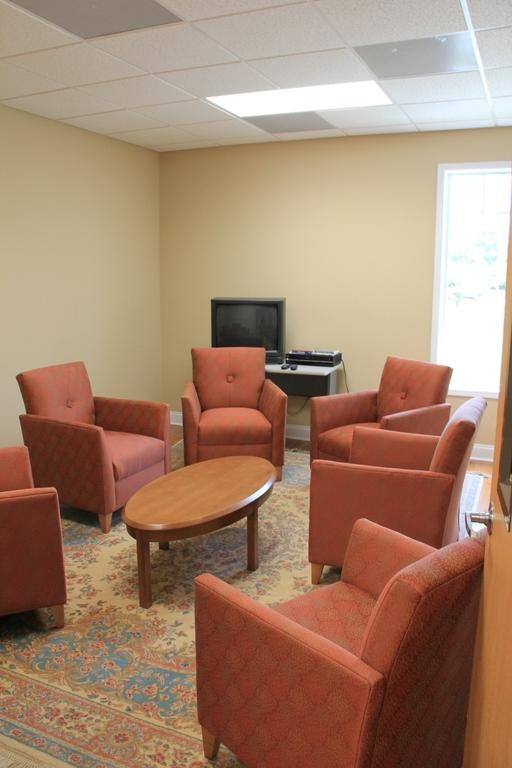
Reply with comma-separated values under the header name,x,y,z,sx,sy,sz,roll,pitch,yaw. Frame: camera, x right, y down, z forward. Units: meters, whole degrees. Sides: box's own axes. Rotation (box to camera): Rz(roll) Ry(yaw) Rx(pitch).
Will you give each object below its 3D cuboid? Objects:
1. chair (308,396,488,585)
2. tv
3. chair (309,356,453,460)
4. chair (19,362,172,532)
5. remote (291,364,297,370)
name,x,y,z,sx,sy,sz,roll,pitch,yaw
chair,0.693,0.506,2.909,0.935,1.082,0.765,3,4,23
tv,-0.027,-0.540,5.540,0.910,0.857,0.532,1,2,13
chair,0.874,0.162,4.035,0.828,0.934,0.789,-2,11,-39
chair,-1.029,0.297,3.993,1.061,1.224,0.933,8,15,28
remote,0.332,-0.142,4.988,0.043,0.056,0.045,-3,6,-35
